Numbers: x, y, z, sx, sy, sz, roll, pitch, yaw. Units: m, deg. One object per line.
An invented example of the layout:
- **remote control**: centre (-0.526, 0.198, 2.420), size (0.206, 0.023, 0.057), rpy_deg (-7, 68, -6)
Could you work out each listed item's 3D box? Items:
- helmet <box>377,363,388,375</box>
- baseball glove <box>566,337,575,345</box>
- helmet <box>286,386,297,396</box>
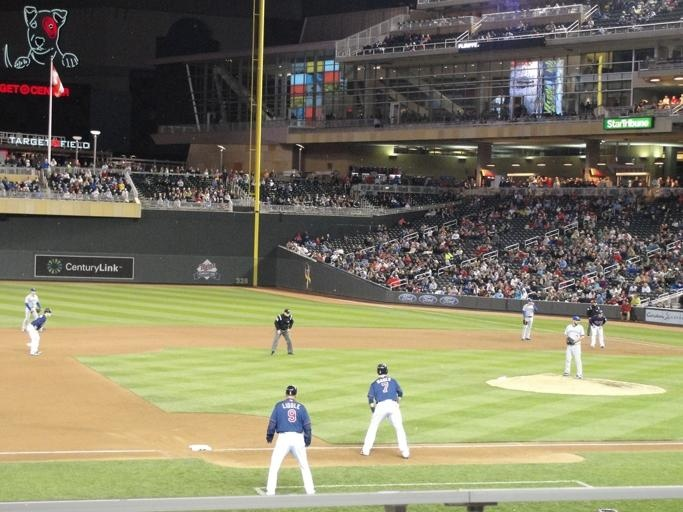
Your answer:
- **helmet**: centre (1.618, 4.667, 58.969), size (0.396, 0.464, 0.504), rpy_deg (1, 15, 3)
- **baseball glove**: centre (10.395, 3.901, 65.781), size (0.337, 0.292, 0.274), rpy_deg (0, 2, 14)
- **helmet**: centre (-2.017, 5.327, 56.784), size (0.415, 0.419, 0.633), rpy_deg (4, -14, 3)
